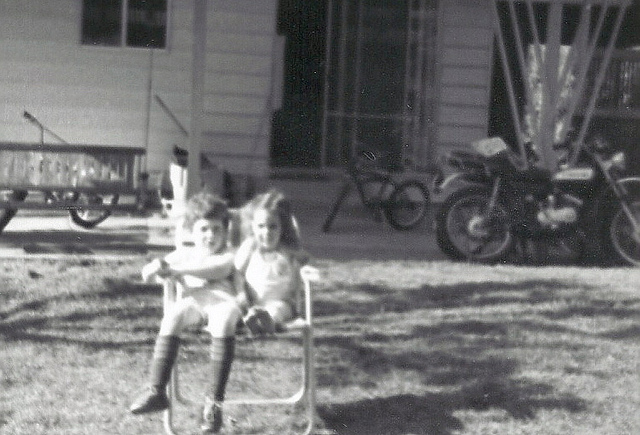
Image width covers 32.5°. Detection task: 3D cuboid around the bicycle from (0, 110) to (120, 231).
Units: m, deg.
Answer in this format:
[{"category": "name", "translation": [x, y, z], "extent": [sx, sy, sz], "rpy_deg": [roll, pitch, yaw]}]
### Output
[{"category": "bicycle", "translation": [-1.156, -0.220, 5.150], "extent": [0.679, 0.479, 0.348], "rpy_deg": [-9, 20, -20]}]

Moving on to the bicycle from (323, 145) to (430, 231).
[{"category": "bicycle", "translation": [0.283, -0.123, 5.236], "extent": [0.585, 0.428, 0.279], "rpy_deg": [0, -13, 33]}]

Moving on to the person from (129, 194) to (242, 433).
[{"category": "person", "translation": [-0.579, 0.446, 4.948], "extent": [0.456, 1.071, 0.319], "rpy_deg": [1, 7, -5]}]

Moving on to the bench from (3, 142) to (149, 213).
[{"category": "bench", "translation": [-1.107, -0.179, 4.990], "extent": [0.656, 0.307, 0.054], "rpy_deg": [2, 7, -5]}]
